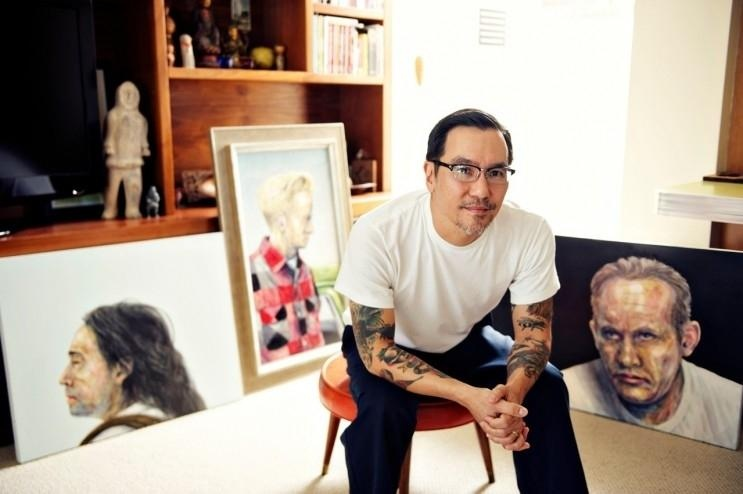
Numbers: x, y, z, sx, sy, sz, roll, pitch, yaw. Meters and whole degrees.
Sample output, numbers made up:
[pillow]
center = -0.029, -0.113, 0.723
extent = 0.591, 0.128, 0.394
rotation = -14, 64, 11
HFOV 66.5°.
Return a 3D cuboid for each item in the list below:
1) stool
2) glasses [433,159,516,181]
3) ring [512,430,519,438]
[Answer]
[stool]
center = 0.130, 0.648, 2.350
extent = 0.647, 0.500, 0.644
rotation = -5, 9, -37
[glasses]
center = 0.395, -0.298, 2.198
extent = 0.317, 0.086, 0.130
rotation = -1, 9, 4
[ring]
center = 0.520, 0.678, 2.059
extent = 0.032, 0.031, 0.007
rotation = 1, -4, -4
